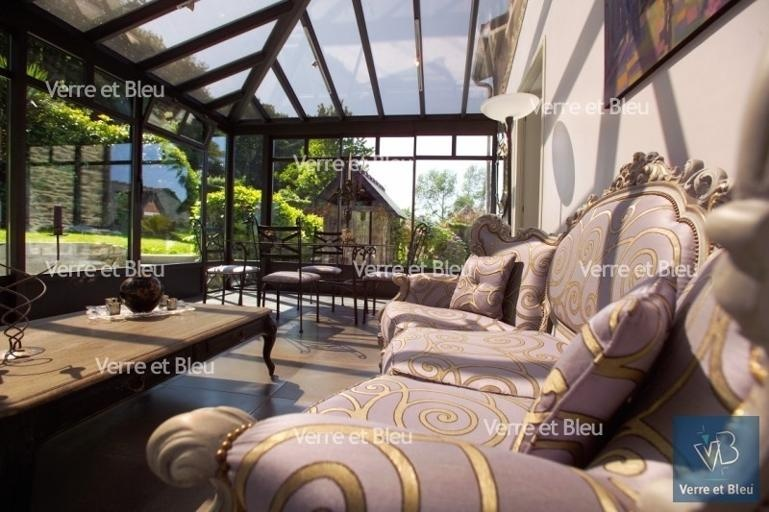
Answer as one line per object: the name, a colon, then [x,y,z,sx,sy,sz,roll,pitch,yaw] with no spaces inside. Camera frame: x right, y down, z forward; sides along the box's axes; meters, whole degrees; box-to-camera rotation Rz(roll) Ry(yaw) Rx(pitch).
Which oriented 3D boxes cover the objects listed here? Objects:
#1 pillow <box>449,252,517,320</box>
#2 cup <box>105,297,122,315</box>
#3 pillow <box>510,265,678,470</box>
pillow: [0.631,0.162,2.962,0.120,0.382,0.406,21,-11,-32]
cup: [-1.604,0.292,2.898,0.101,0.139,0.100,2,3,0]
pillow: [0.676,0.347,1.498,0.469,0.591,0.162,0,15,-25]
